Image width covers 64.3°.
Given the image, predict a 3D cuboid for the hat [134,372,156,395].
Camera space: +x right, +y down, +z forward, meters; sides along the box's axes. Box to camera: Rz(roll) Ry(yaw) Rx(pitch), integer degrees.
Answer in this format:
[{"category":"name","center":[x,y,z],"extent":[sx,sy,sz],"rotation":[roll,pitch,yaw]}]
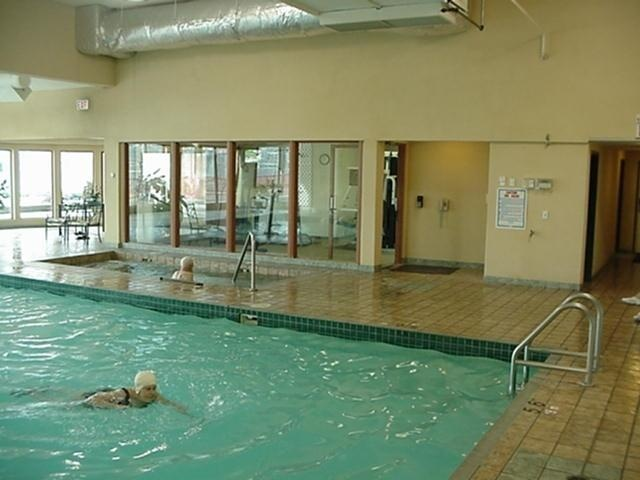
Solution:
[{"category":"hat","center":[-1.774,1.375,4.964],"extent":[0.202,0.202,0.206],"rotation":[-6,14,-22]}]

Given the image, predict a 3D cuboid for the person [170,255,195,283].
[{"category":"person","center":[-2.751,0.572,9.826],"extent":[0.369,0.661,0.225],"rotation":[17,20,17]}]

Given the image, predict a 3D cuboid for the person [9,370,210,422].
[{"category":"person","center":[-2.384,1.521,5.271],"extent":[2.241,0.507,0.663],"rotation":[2,-1,11]}]
